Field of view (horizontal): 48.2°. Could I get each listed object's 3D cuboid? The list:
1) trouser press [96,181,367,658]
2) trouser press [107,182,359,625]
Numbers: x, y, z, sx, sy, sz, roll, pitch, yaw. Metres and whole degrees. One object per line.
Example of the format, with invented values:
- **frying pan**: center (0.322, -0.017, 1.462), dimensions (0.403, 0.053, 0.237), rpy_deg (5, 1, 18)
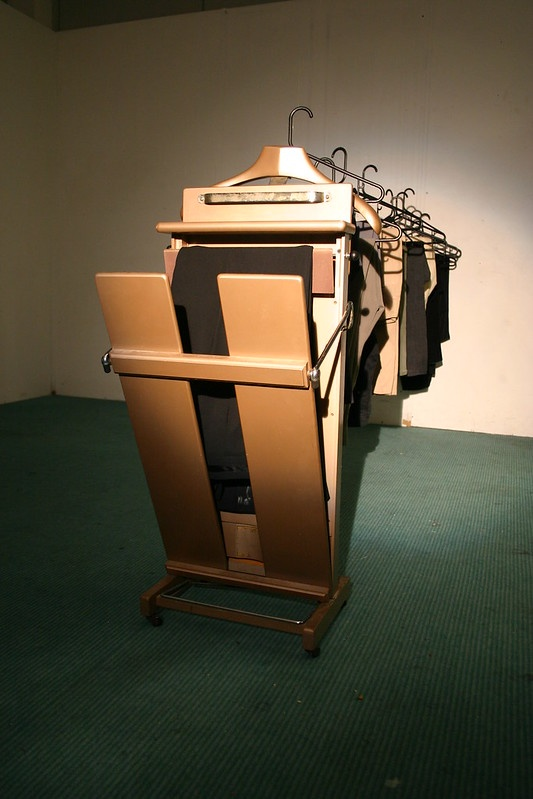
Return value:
- **trouser press**: center (-0.068, 0.037, 1.692), dimensions (0.594, 1.268, 0.589), rpy_deg (3, 9, 20)
- **trouser press**: center (-0.071, 0.018, 1.678), dimensions (0.604, 1.236, 0.535), rpy_deg (4, 10, 20)
